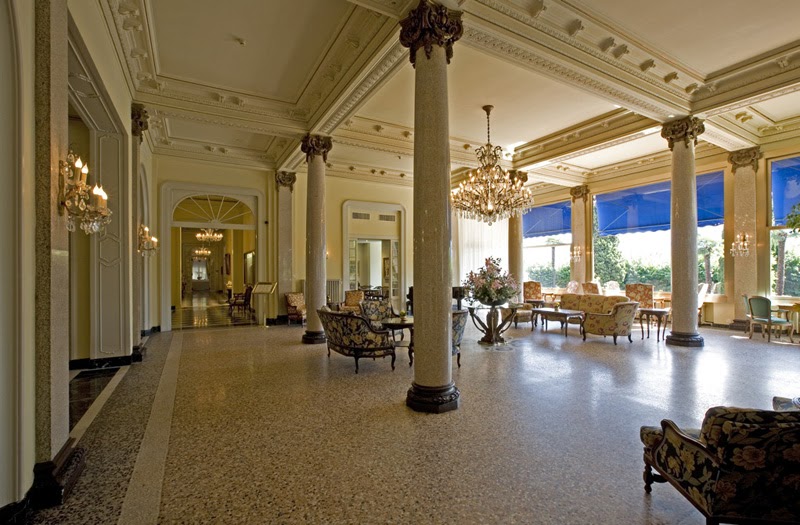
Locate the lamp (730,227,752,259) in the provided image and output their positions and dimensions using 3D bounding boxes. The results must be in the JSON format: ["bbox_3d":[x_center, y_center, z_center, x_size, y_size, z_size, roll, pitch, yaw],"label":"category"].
[{"bbox_3d":[8.427,-0.476,12.430,0.433,0.645,0.181,10,17,38],"label":"lamp"}]

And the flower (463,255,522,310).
[{"bbox_3d":[1.952,0.465,11.134,1.096,0.942,1.135,1,-5,1],"label":"flower"}]

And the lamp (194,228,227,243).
[{"bbox_3d":[-8.205,-1.232,21.845,0.680,0.508,0.799,-1,-7,21],"label":"lamp"}]
